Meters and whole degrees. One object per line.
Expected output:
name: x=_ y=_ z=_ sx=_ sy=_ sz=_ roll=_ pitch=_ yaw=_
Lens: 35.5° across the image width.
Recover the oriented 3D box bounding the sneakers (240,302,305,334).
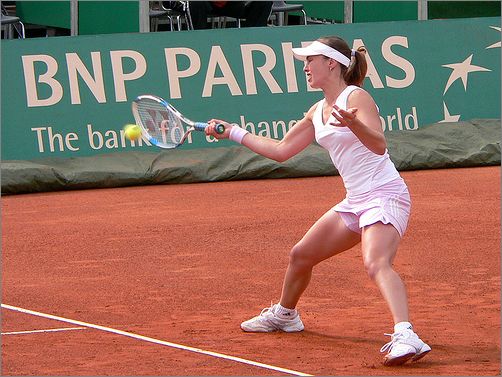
sneakers: x=0.197 y=1.062 z=6.449 sx=0.556 sy=0.223 sz=0.208 roll=1 pitch=3 yaw=0

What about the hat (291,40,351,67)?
hat: x=0.558 y=-1.077 z=6.225 sx=0.378 sy=0.115 sz=0.227 roll=21 pitch=-1 yaw=3

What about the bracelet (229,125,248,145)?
bracelet: x=-0.099 y=-0.453 z=6.645 sx=0.129 sy=0.120 sz=0.163 roll=14 pitch=-2 yaw=4
